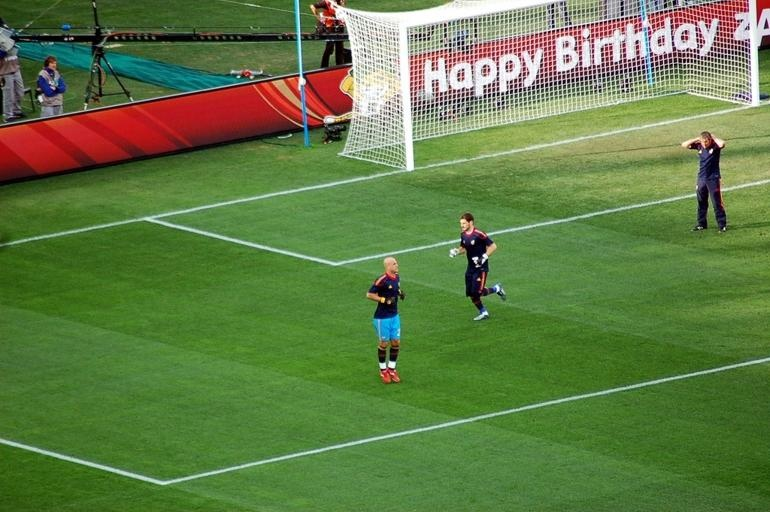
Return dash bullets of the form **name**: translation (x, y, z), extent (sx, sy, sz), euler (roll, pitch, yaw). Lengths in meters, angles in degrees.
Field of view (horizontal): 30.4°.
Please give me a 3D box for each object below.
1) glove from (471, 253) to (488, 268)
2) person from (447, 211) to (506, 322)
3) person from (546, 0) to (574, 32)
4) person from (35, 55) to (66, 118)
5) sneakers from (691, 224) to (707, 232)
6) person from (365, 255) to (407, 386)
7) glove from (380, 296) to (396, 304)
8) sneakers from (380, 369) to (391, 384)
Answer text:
- **glove**: translation (2.024, 0.107, 30.238), extent (0.369, 0.124, 0.250), euler (-35, 23, -3)
- **person**: translation (1.949, 0.234, 30.368), extent (0.960, 2.374, 0.608), euler (-8, 21, 3)
- **person**: translation (4.965, -6.877, 40.463), extent (0.625, 0.698, 0.891), euler (-3, 17, 13)
- **person**: translation (-9.178, -4.628, 38.736), extent (0.801, 1.650, 0.865), euler (-9, 20, 0)
- **sneakers**: translation (7.385, -0.644, 33.517), extent (0.381, 0.101, 0.111), euler (-1, 10, 5)
- **person**: translation (0.040, 1.312, 28.639), extent (0.613, 2.498, 1.012), euler (-5, 21, 14)
- **glove**: translation (0.050, 0.900, 28.499), extent (0.216, 0.060, 0.176), euler (-2, 8, -24)
- **sneakers**: translation (-0.005, 2.458, 28.744), extent (0.161, 0.315, 0.150), euler (-23, -22, -21)
